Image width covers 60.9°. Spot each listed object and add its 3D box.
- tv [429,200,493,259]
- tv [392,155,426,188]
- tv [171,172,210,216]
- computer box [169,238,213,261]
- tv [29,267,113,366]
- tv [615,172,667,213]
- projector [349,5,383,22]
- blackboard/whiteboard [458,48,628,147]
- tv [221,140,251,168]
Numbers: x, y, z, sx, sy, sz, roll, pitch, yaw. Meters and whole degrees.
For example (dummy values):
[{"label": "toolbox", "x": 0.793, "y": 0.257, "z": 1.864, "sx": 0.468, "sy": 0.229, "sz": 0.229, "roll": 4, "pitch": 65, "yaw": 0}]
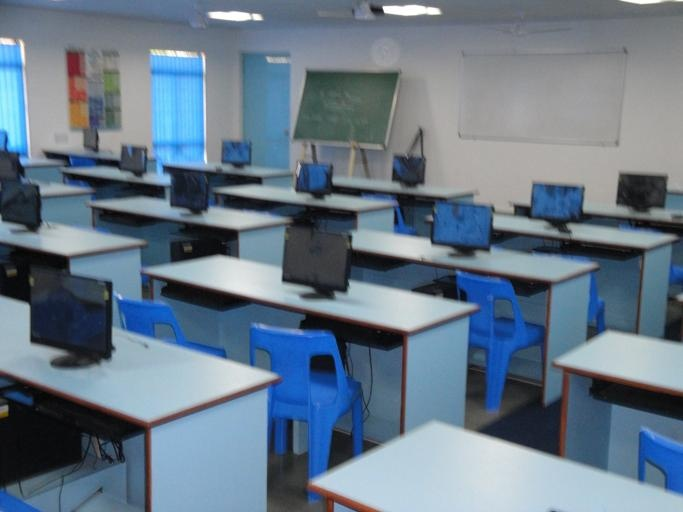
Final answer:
[{"label": "tv", "x": 1.008, "y": -0.216, "z": 4.896, "sx": 0.431, "sy": 0.348, "sz": 0.135, "roll": 6, "pitch": 7, "yaw": 28}, {"label": "tv", "x": 1.023, "y": -1.222, "z": 8.442, "sx": 0.440, "sy": 0.472, "sz": 0.112, "roll": 8, "pitch": 9, "yaw": 28}, {"label": "tv", "x": -1.622, "y": -0.667, "z": 6.189, "sx": 0.412, "sy": 0.315, "sz": 0.060, "roll": 12, "pitch": 12, "yaw": 38}, {"label": "computer box", "x": -1.470, "y": -0.074, "z": 5.498, "sx": 0.208, "sy": 0.219, "sz": 0.304, "roll": 6, "pitch": 7, "yaw": 41}, {"label": "tv", "x": -1.269, "y": 0.256, "z": 2.720, "sx": 0.439, "sy": 0.390, "sz": 0.049, "roll": 9, "pitch": 12, "yaw": 14}, {"label": "tv", "x": 3.493, "y": -0.741, "z": 6.770, "sx": 0.420, "sy": 0.381, "sz": 0.060, "roll": 14, "pitch": 11, "yaw": 44}, {"label": "projector", "x": 0.382, "y": -3.561, "z": 8.451, "sx": 0.249, "sy": 0.151, "sz": 0.392, "roll": -14, "pitch": 22, "yaw": -31}, {"label": "blackboard/whiteboard", "x": 3.322, "y": -2.560, "z": 9.437, "sx": 2.284, "sy": 1.500, "sz": 0.480, "roll": 6, "pitch": 13, "yaw": 26}, {"label": "tv", "x": -1.717, "y": -1.671, "z": 9.458, "sx": 0.446, "sy": 0.412, "sz": 0.164, "roll": 4, "pitch": 9, "yaw": 10}]
